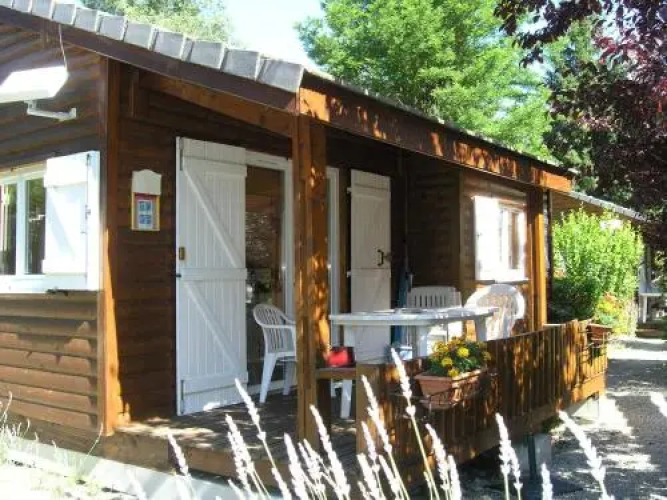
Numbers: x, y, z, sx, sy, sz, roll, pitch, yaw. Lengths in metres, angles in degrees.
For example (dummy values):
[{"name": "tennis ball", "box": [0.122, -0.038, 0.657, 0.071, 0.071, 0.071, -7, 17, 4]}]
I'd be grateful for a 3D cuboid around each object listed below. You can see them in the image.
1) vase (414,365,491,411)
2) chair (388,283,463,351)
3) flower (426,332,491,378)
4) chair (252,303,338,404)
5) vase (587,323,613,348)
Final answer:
[{"name": "vase", "box": [0.921, 1.080, 4.838, 0.661, 0.267, 0.302, 2, -4, -32]}, {"name": "chair", "box": [1.268, 0.910, 8.315, 0.786, 1.219, 0.783, -5, -10, 35]}, {"name": "flower", "box": [0.959, 0.836, 4.883, 0.297, 0.241, 0.384, -2, -3, 1]}, {"name": "chair", "box": [-0.431, 1.080, 6.532, 0.685, 1.003, 0.646, -3, -2, 21]}, {"name": "vase", "box": [3.392, 1.065, 7.890, 0.277, 0.268, 0.305, 0, -3, 27]}]
